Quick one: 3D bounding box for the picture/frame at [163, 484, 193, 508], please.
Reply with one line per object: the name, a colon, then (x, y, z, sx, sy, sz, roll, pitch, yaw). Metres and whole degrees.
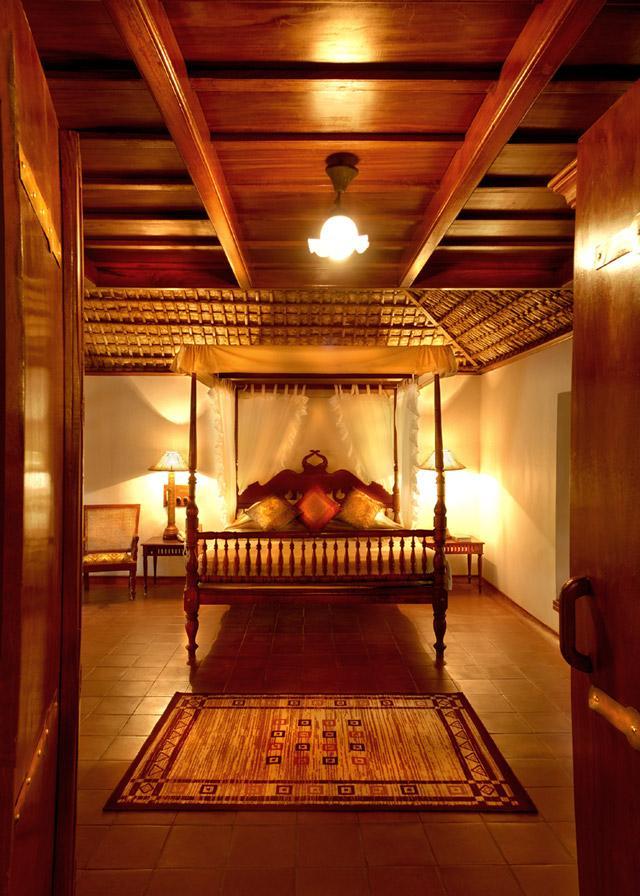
picture/frame: (-1.519, 0.524, 6.858, 0.407, 0.310, 0.239, -1, -7, 7)

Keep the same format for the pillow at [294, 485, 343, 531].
pillow: (-0.007, 0.559, 5.679, 0.347, 0.338, 0.085, 34, -11, 32)

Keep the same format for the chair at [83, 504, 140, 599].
chair: (-2.099, 1.024, 6.340, 0.744, 0.878, 0.757, -5, -6, 45)

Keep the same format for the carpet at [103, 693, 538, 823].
carpet: (0.005, 1.474, 3.152, 1.775, 0.143, 1.184, -3, -3, 0)

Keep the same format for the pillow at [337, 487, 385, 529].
pillow: (0.412, 0.621, 6.028, 0.312, 0.302, 0.334, 6, -33, 41)

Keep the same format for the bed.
bed: (0.120, 0.466, 5.788, 2.382, 2.359, 2.765, 0, -7, -3)

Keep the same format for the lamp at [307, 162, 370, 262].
lamp: (0.090, -1.074, 2.967, 0.330, 0.488, 0.332, 2, 3, -1)
